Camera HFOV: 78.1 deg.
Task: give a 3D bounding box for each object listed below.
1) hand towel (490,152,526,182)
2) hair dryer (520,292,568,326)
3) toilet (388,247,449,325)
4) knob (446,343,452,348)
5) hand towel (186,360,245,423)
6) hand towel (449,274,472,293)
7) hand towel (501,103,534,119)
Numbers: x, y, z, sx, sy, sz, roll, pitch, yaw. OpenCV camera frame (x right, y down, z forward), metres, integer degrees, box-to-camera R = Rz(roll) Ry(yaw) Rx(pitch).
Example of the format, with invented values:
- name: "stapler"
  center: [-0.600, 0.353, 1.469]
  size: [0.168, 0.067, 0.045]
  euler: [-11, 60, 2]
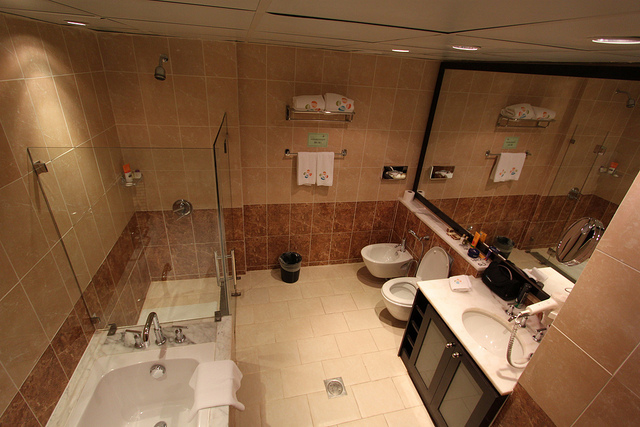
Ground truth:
- name: "hand towel"
  center: [1.874, -0.479, 3.969]
  size: [0.274, 0.316, 0.100]
  euler: [-7, 37, -10]
- name: "hair dryer"
  center: [1.909, 0.813, 3.368]
  size: [0.466, 0.188, 0.133]
  euler: [-20, 29, 5]
- name: "toilet"
  center: [1.009, 0.837, 4.545]
  size: [0.609, 0.911, 0.507]
  euler: [1, 29, -9]
- name: "knob"
  center: [1.147, 1.172, 3.525]
  size: [0.037, 0.038, 0.068]
  euler: [-3, -7, 5]
- name: "hand towel"
  center: [-0.902, 1.477, 3.380]
  size: [0.438, 0.144, 0.425]
  euler: [0, 38, -18]
- name: "hand towel"
  center: [1.391, 0.694, 3.935]
  size: [0.159, 0.055, 0.159]
  euler: [-9, 33, 0]
- name: "hand towel"
  center: [1.908, -0.996, 3.837]
  size: [0.056, 0.154, 0.389]
  euler: [-1, 18, -15]
